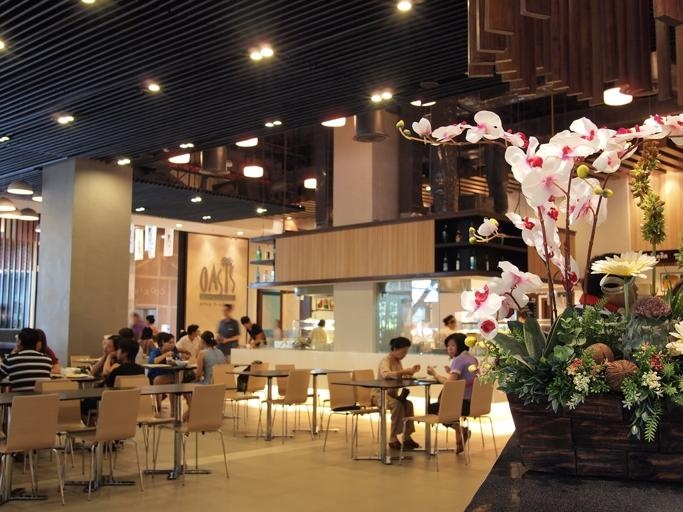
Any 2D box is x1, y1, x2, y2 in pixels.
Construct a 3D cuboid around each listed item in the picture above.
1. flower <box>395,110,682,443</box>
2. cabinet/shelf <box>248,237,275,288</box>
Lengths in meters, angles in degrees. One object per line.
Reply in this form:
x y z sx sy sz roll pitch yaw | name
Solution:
0.698 -0.100 2.218 0.855 0.905 0.532 -1 -5 12 | flower
-2.120 0.203 17.092 0.500 1.325 1.562 3 -5 -31 | cabinet/shelf
